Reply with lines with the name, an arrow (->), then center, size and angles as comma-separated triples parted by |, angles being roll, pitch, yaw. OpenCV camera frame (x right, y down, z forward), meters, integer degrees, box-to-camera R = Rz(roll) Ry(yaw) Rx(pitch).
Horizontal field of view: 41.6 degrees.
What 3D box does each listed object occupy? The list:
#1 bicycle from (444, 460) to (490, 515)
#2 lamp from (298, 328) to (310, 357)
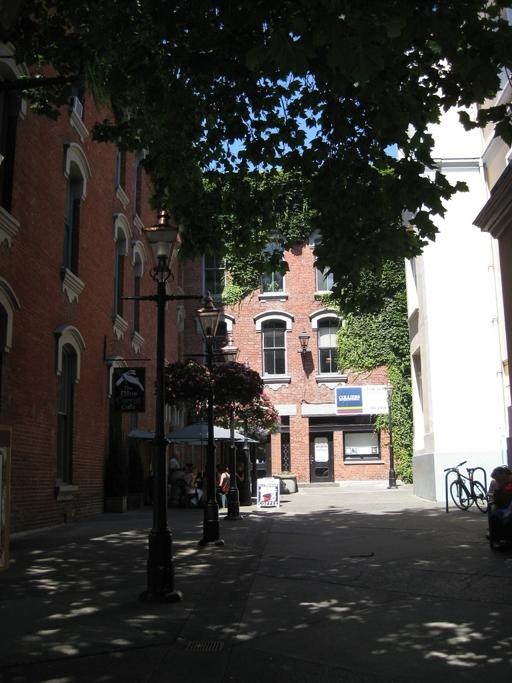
bicycle -> 5.577, 3.820, 17.967 | 1.003, 1.248, 3.285 | -6, -12, 17
lamp -> 2.606, 0.153, 36.526 | 0.625, 1.326, 0.554 | -3, -11, 3
